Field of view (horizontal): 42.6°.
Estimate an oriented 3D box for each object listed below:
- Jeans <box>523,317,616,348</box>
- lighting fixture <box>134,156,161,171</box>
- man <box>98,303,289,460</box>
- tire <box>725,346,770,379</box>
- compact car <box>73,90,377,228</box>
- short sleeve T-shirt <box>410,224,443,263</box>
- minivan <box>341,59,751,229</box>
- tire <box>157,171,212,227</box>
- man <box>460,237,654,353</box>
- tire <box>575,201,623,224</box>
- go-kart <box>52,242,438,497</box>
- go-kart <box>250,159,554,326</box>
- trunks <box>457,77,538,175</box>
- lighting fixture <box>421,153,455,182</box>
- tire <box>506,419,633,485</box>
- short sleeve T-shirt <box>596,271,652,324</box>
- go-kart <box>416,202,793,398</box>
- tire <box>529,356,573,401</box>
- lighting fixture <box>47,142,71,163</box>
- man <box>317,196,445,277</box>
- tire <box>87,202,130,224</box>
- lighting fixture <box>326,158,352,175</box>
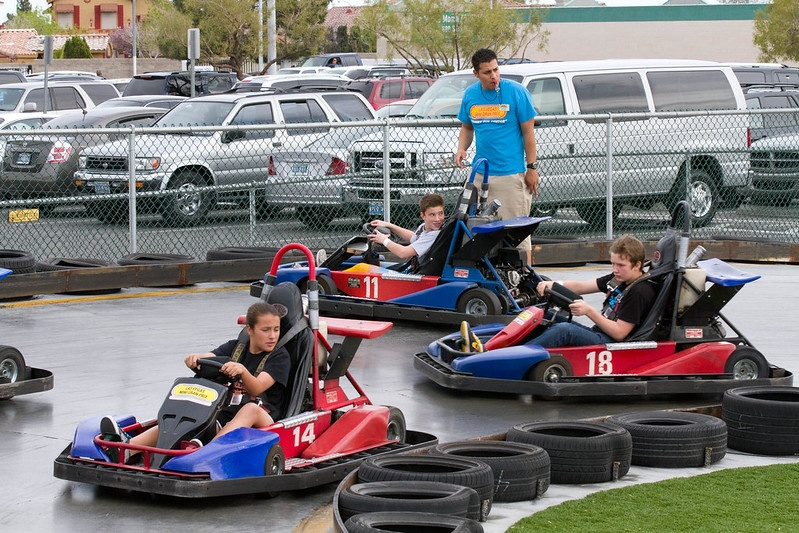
[{"bbox_3d":[1.404,0.568,8.343,0.636,0.155,0.260,-4,-22,5],"label":"Jeans"},{"bbox_3d":[-3.554,-1.457,14.468,0.334,0.102,0.244,6,11,32],"label":"lighting fixture"},{"bbox_3d":[-1.197,0.763,6.496,0.754,0.767,1.335,13,18,32],"label":"man"},{"bbox_3d":[2.846,0.792,8.392,0.318,0.258,0.091,-1,6,-9],"label":"tire"},{"bbox_3d":[-2.349,-1.694,15.424,4.512,1.516,2.112,-1,4,-27],"label":"compact car"},{"bbox_3d":[0.292,-0.229,10.400,0.195,0.298,0.321,26,10,-26],"label":"short sleeve T-shirt"},{"bbox_3d":[2.354,-1.826,14.647,5.640,1.916,2.627,0,2,-22],"label":"minivan"},{"bbox_3d":[-2.967,-0.959,14.373,0.734,0.757,0.634,-4,7,-12],"label":"tire"},{"bbox_3d":[1.475,0.274,8.539,1.377,0.823,0.709,-8,16,1],"label":"man"},{"bbox_3d":[2.823,-0.751,14.392,0.439,0.274,0.412,1,2,37],"label":"tire"},{"bbox_3d":[-1.011,0.666,7.142,1.826,1.273,2.245,-1,-5,38],"label":"go-kart"},{"bbox_3d":[-0.023,-0.178,10.952,3.252,1.422,1.471,4,6,22],"label":"go-kart"},{"bbox_3d":[1.075,-1.483,10.857,0.962,0.912,0.434,6,21,39],"label":"trunks"},{"bbox_3d":[0.553,-1.380,14.119,0.472,0.379,0.115,-4,-4,-3],"label":"lighting fixture"},{"bbox_3d":[1.207,1.240,6.925,0.599,0.186,0.509,-2,2,13],"label":"tire"},{"bbox_3d":[1.864,0.287,8.493,0.287,0.388,0.447,1,27,-13],"label":"short sleeve T-shirt"},{"bbox_3d":[1.716,0.307,8.743,2.721,1.154,1.724,2,1,-7],"label":"go-kart"},{"bbox_3d":[1.217,0.870,8.169,0.383,0.318,0.128,-3,7,-34],"label":"tire"},{"bbox_3d":[-5.287,-1.767,15.896,0.302,0.085,0.454,20,19,10],"label":"lighting fixture"},{"bbox_3d":[-0.063,-0.313,10.629,1.087,0.801,0.723,0,4,-13],"label":"man"},{"bbox_3d":[-4.146,-0.774,14.530,0.488,0.364,0.094,-3,-27,-17],"label":"tire"},{"bbox_3d":[-0.868,-1.409,14.419,0.285,0.246,0.074,19,5,7],"label":"lighting fixture"}]
